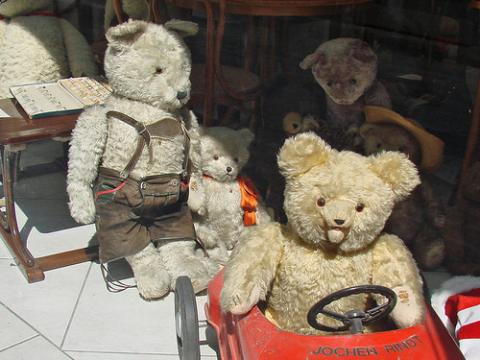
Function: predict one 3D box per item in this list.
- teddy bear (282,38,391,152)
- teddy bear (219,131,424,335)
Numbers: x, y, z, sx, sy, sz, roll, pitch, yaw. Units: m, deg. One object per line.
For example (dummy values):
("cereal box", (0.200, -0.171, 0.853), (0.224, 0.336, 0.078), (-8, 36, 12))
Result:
("teddy bear", (0.647, -0.559, 3.078), (0.539, 0.645, 0.392), (-7, 44, 10))
("teddy bear", (0.434, 0.270, 2.398), (1.095, 0.961, 0.679), (2, 30, 4))
